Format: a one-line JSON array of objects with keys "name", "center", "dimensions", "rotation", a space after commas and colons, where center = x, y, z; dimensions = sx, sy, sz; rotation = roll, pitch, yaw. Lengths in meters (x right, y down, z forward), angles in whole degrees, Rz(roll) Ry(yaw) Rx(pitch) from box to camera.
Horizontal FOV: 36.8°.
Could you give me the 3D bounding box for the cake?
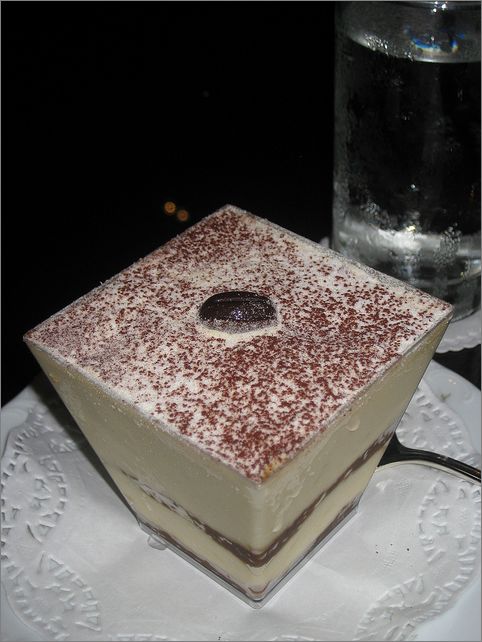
[{"name": "cake", "center": [-0.028, 0.103, 0.994], "dimensions": [0.479, 0.370, 0.420], "rotation": [26, 47, 32]}]
